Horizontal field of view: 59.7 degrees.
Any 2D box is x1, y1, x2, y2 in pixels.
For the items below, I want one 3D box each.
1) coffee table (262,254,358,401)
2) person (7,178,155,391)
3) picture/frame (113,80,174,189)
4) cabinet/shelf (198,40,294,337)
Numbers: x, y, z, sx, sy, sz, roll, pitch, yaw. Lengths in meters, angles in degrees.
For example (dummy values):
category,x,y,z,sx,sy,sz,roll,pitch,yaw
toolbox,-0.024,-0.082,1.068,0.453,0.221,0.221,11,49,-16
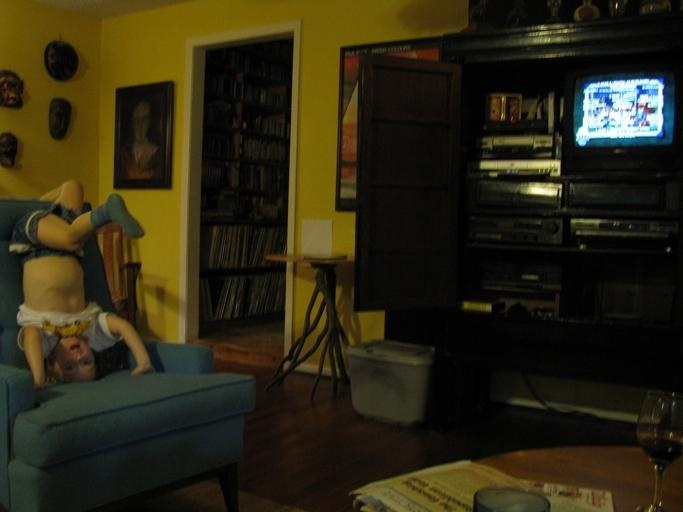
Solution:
category,x,y,z,sx,sy,sz,roll,pitch,yaw
coffee table,-0.120,0.393,3.980,0.685,0.788,0.669,6,-1,-24
person,-1.122,0.152,2.519,0.451,0.979,0.488,2,17,-21
picture/frame,-1.703,-1.067,5.180,0.883,1.096,0.061,4,3,35
cabinet/shelf,-1.017,-0.486,6.137,1.090,2.685,0.293,-5,13,-42
